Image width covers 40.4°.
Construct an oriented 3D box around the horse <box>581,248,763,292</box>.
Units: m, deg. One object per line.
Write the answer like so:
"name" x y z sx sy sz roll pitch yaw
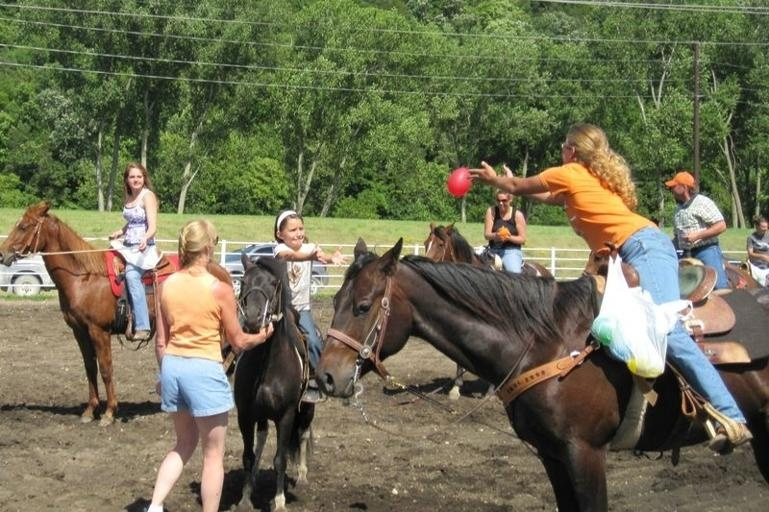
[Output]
"horse" 9.052 0.497 33.188 5.235 3.025 1.213 0 4 -1
